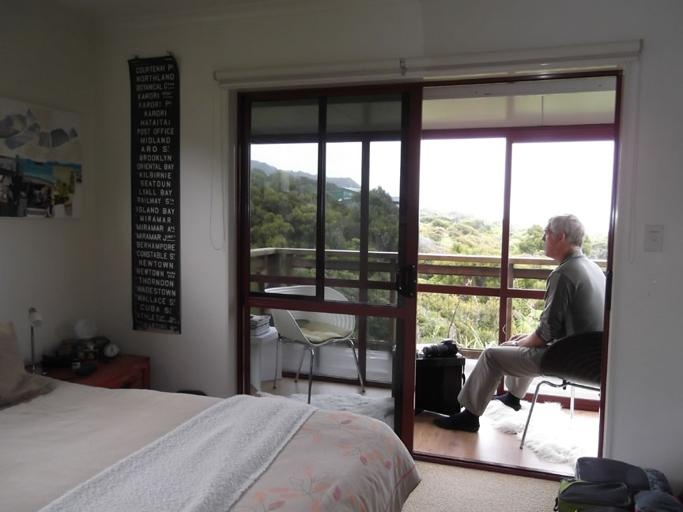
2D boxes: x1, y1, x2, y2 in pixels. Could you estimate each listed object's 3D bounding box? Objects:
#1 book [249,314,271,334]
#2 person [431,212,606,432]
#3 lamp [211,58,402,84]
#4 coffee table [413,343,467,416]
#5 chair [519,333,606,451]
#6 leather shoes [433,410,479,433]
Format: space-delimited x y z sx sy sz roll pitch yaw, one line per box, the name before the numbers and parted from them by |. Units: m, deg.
book | -0.588 0.477 3.646 0.115 0.083 0.160 -1 0 14
person | 1.507 0.528 3.902 0.932 1.686 0.831 6 6 40
lamp | -0.228 -1.208 3.335 1.311 0.162 0.042 5 13 13
coffee table | 0.822 0.981 4.141 0.325 0.467 0.253 -6 -15 37
chair | 1.482 0.933 3.506 0.311 0.487 0.353 14 -22 21
leather shoes | 0.895 1.255 3.957 0.334 0.255 0.142 2 -5 20
